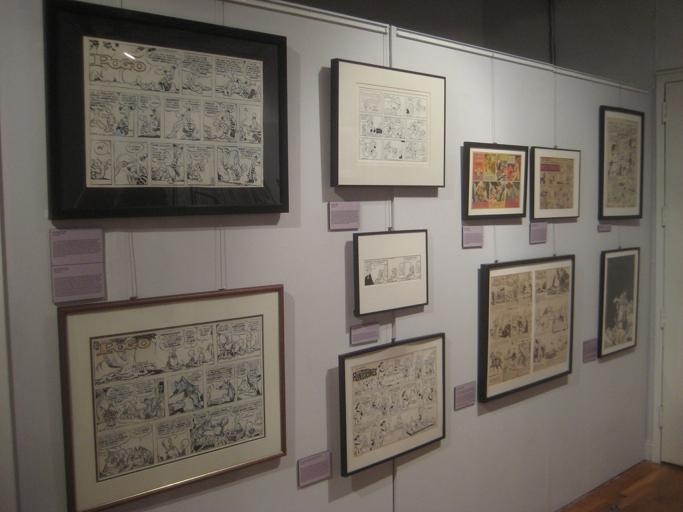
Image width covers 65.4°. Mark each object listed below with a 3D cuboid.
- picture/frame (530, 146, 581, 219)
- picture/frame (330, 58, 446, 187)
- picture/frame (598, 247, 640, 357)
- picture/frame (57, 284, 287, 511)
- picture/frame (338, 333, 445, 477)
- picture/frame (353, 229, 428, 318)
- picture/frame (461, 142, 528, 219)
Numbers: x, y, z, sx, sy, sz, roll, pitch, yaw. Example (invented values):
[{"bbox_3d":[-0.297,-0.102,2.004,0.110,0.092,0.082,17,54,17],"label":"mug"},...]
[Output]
[{"bbox_3d":[1.679,-0.593,4.228,0.535,0.554,0.043,-4,5,-41],"label":"picture/frame"},{"bbox_3d":[0.258,-0.833,3.317,0.797,0.732,0.086,-1,1,-32],"label":"picture/frame"},{"bbox_3d":[2.505,0.397,4.838,0.834,1.237,0.078,-8,10,-36],"label":"picture/frame"},{"bbox_3d":[-0.958,0.744,2.837,1.174,1.126,0.114,-3,0,-35],"label":"picture/frame"},{"bbox_3d":[0.290,0.952,3.452,0.928,0.947,0.069,-3,3,-39],"label":"picture/frame"},{"bbox_3d":[0.286,0.101,3.382,0.509,0.486,0.052,-4,3,-35],"label":"picture/frame"},{"bbox_3d":[1.082,-0.552,3.842,0.526,0.484,0.020,-4,4,-38],"label":"picture/frame"}]
